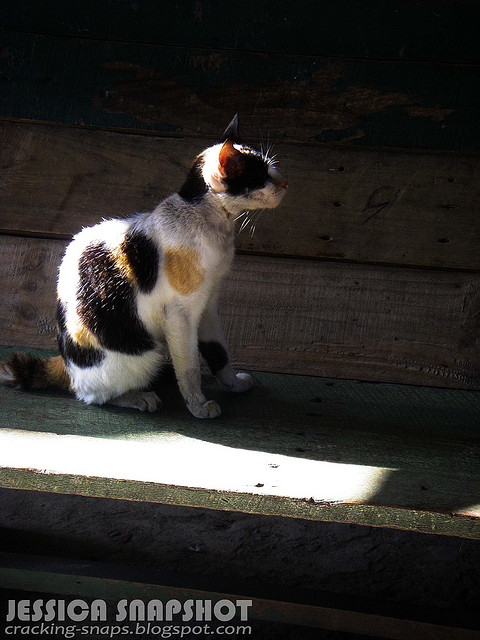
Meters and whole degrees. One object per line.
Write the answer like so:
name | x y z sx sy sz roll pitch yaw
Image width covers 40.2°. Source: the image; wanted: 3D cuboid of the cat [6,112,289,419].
cat | -0.218 -0.121 1.562 0.529 0.583 0.642 14 49 0
